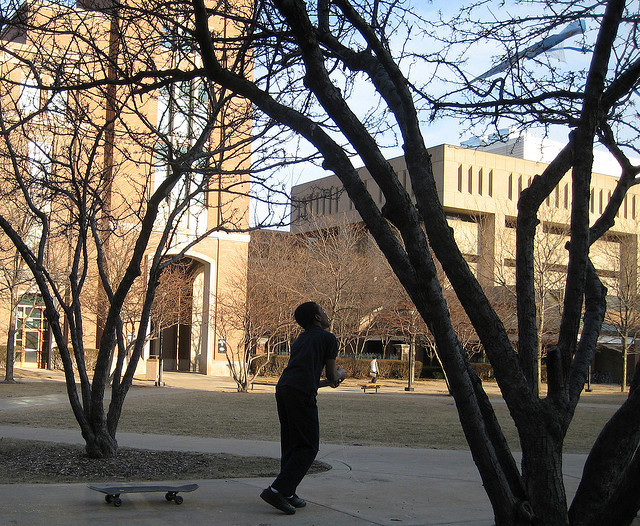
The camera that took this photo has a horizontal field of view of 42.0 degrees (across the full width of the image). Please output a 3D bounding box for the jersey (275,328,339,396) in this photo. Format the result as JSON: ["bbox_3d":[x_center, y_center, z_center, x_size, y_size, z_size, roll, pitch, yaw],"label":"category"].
[{"bbox_3d":[-0.132,1.053,8.435,0.571,0.723,0.385,-8,-39,34],"label":"jersey"}]

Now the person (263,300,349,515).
[{"bbox_3d":[-0.146,1.400,8.248,0.782,2.059,0.518,-1,-6,1],"label":"person"}]

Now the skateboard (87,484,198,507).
[{"bbox_3d":[-1.757,2.328,8.294,0.803,0.147,0.205,4,-6,-16],"label":"skateboard"}]
